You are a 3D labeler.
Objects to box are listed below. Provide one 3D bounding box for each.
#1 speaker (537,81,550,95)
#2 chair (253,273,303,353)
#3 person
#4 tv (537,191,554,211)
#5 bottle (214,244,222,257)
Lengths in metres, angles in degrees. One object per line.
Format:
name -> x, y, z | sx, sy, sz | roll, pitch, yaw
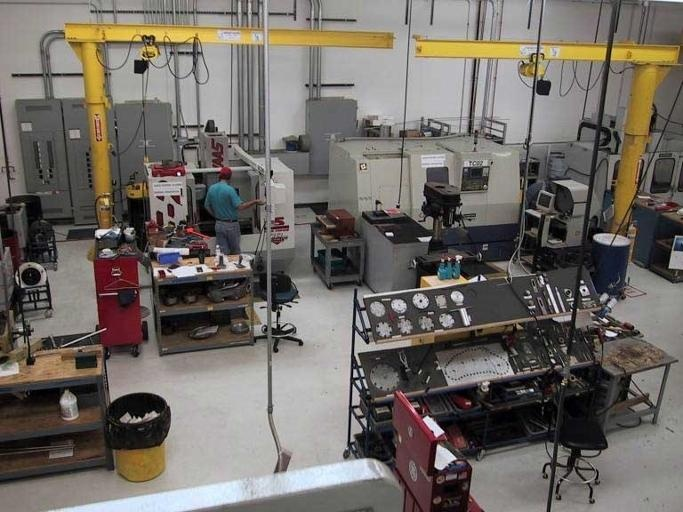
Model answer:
speaker -> 2.733, -2.264, 7.580 | 0.154, 0.196, 0.409 | 3, 20, 14
chair -> -0.822, 0.490, 7.170 | 0.593, 1.103, 1.469 | -4, 19, -6
person -> -1.555, -0.456, 7.990 | 0.755, 1.568, 0.462 | 2, 19, -6
tv -> 3.169, -0.846, 8.728 | 0.173, 0.335, 0.278 | 0, 12, -23
bottle -> -1.632, -0.074, 7.440 | 0.064, 0.046, 0.169 | 11, -18, -5
